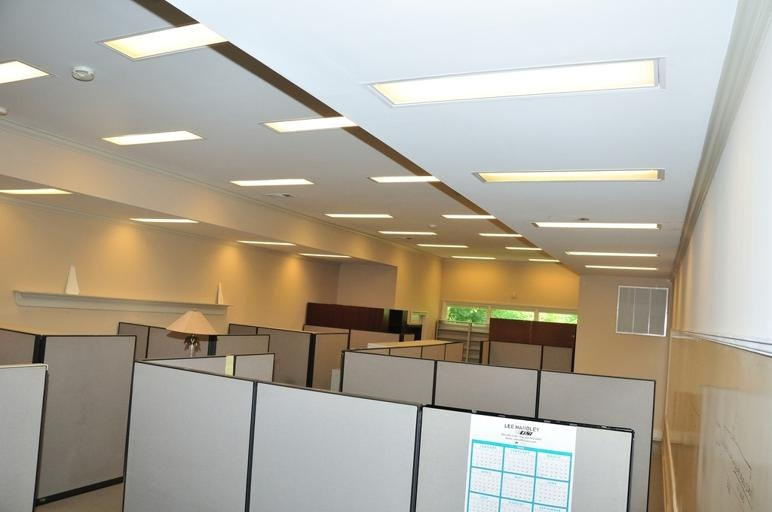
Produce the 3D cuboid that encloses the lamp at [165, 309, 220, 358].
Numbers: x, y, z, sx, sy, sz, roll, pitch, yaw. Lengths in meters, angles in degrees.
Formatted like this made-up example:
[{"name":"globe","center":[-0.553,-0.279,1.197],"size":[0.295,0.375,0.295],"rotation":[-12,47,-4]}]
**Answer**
[{"name":"lamp","center":[-2.034,0.868,5.335],"size":[0.554,0.568,0.495],"rotation":[2,-3,35]}]
